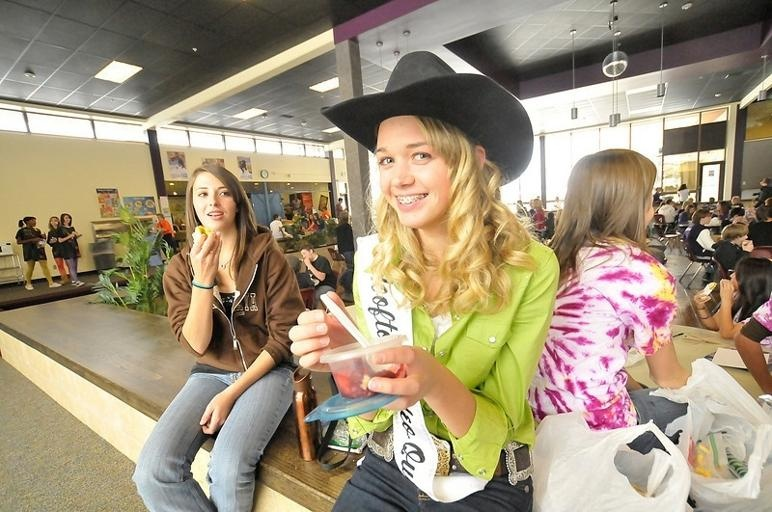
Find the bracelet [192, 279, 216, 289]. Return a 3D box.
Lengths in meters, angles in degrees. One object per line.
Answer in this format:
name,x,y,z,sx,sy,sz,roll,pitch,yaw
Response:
bracelet,-1.235,0.190,2.856,0.130,0.071,0.101,-6,10,-25

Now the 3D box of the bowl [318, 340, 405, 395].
bowl,-0.102,0.592,2.180,0.491,0.243,0.498,-11,-15,-3

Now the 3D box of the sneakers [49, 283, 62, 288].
sneakers,-6.977,0.648,8.937,0.256,0.095,0.147,-2,0,20

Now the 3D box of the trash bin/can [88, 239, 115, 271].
trash bin/can,-7.090,0.041,10.723,0.494,0.718,0.497,-13,9,-16

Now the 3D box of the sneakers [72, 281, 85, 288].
sneakers,-6.448,0.591,8.905,0.399,0.158,0.162,-3,0,40

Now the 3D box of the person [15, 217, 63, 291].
person,-7.409,-0.069,8.985,0.546,1.486,1.561,-10,12,-41

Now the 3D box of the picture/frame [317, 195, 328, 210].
picture/frame,-2.639,-2.172,17.335,0.080,0.764,0.615,-13,-21,37

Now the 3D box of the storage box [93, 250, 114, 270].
storage box,-6.968,0.089,10.462,0.392,0.523,0.383,2,13,3

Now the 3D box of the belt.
belt,0.323,1.072,2.264,0.883,0.270,0.147,-1,9,8

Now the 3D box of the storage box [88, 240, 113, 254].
storage box,-7.075,-0.214,10.626,0.505,0.486,0.502,2,-3,-19

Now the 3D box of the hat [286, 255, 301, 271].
hat,-1.248,0.100,5.711,0.185,0.265,0.138,-6,-19,-8
